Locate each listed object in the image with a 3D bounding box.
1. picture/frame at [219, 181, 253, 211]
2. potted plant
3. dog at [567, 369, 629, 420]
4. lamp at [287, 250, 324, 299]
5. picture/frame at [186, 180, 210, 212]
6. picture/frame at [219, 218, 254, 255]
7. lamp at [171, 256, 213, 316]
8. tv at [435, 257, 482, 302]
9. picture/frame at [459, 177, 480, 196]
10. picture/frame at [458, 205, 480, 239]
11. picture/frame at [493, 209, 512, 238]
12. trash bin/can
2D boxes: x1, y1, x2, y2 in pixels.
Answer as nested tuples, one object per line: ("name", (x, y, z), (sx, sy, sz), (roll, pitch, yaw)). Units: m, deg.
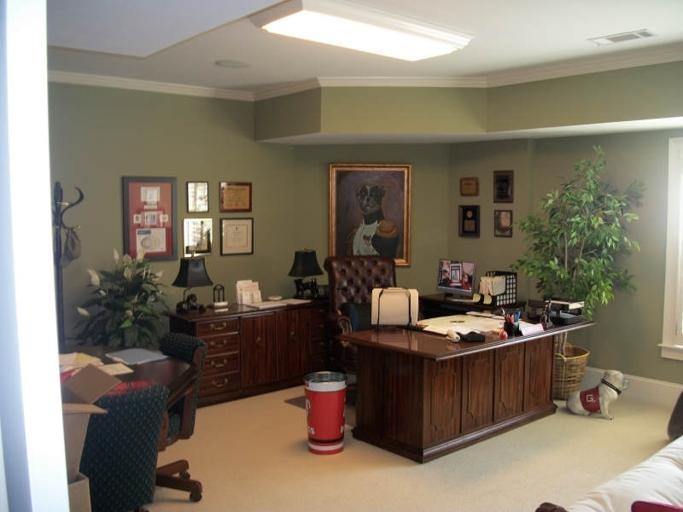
("picture/frame", (-1.317, -0.735, 6.176), (0.357, 0.345, 0.040), (-2, 4, -34))
("potted plant", (2.251, -0.239, 5.561), (1.631, 2.682, 1.560), (8, 14, 36))
("dog", (2.609, 1.413, 5.163), (0.590, 0.481, 0.321), (-6, -18, 41))
("lamp", (-0.457, 0.217, 6.402), (0.401, 0.595, 0.499), (-1, 5, -5))
("picture/frame", (-1.712, -0.709, 5.939), (0.361, 0.516, 0.020), (-2, 6, -41))
("picture/frame", (-1.317, -0.244, 6.207), (0.430, 0.476, 0.032), (-1, 2, -38))
("lamp", (-1.667, 0.305, 5.528), (0.355, 0.593, 0.625), (-3, 5, -27))
("tv", (1.460, 0.304, 6.257), (0.526, 0.481, 0.195), (-1, -4, 44))
("picture/frame", (1.716, -0.926, 6.780), (0.042, 0.265, 0.309), (-4, 6, -36))
("picture/frame", (1.734, -0.479, 6.825), (0.070, 0.572, 0.423), (-1, 2, -44))
("picture/frame", (2.074, -0.425, 6.467), (0.032, 0.509, 0.352), (0, 1, -42))
("trash bin/can", (-0.135, 1.310, 4.299), (0.504, 0.819, 0.550), (0, 0, -5))
